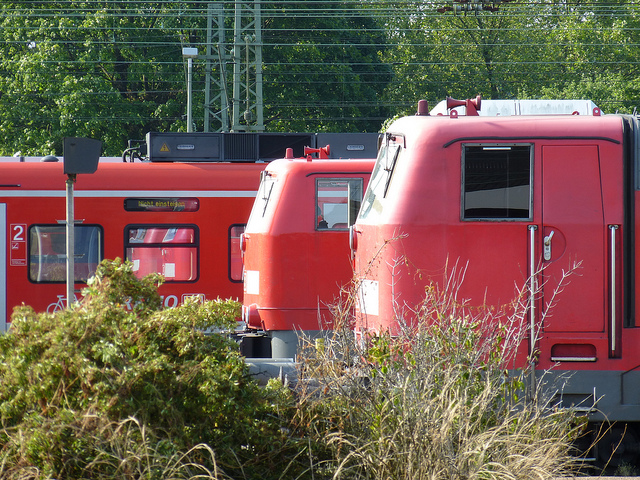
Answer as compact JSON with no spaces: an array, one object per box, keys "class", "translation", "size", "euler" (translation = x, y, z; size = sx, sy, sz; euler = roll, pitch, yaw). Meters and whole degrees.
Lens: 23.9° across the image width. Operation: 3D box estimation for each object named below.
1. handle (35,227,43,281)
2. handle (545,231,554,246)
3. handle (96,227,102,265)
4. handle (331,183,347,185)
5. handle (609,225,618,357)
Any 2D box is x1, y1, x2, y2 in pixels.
[{"class":"handle","translation":[-7.466,0.408,40.112],"size":[0.161,1.406,0.152],"euler":[-2,4,-39]},{"class":"handle","translation":[5.451,-0.004,35.289],"size":[0.204,0.337,0.054],"euler":[-1,3,-19]},{"class":"handle","translation":[-5.850,0.164,40.190],"size":[0.104,0.916,0.178],"euler":[-1,3,-25]},{"class":"handle","translation":[0.528,-1.377,37.869],"size":[0.397,0.034,0.071],"euler":[0,3,-18]},{"class":"handle","translation":[6.926,1.214,35.250],"size":[0.188,3.060,0.222],"euler":[1,3,11]}]
